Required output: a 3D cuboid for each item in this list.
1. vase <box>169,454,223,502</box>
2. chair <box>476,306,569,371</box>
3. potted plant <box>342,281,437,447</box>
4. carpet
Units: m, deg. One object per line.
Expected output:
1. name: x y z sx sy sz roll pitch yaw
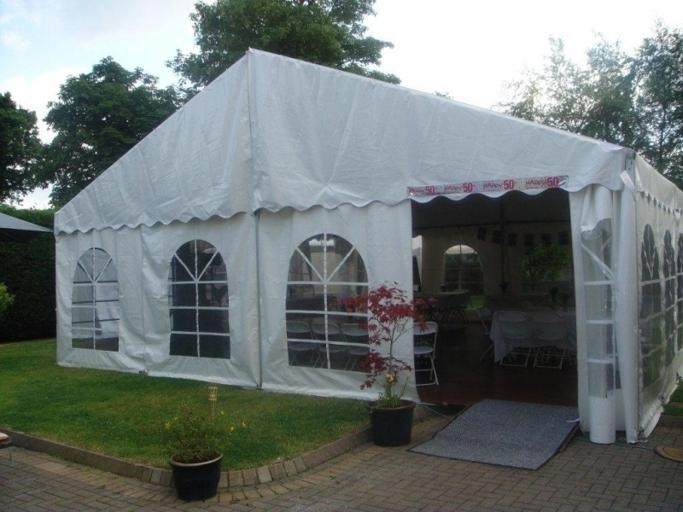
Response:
1. vase: -1.514 2.313 5.742 0.554 0.401 0.584 -3 -5 4
2. chair: 3.553 1.411 9.848 1.135 0.775 1.416 0 -1 41
3. potted plant: 0.646 1.284 7.307 0.866 1.904 1.679 -1 7 1
4. carpet: 2.035 2.181 6.753 1.370 0.070 2.156 5 9 42
